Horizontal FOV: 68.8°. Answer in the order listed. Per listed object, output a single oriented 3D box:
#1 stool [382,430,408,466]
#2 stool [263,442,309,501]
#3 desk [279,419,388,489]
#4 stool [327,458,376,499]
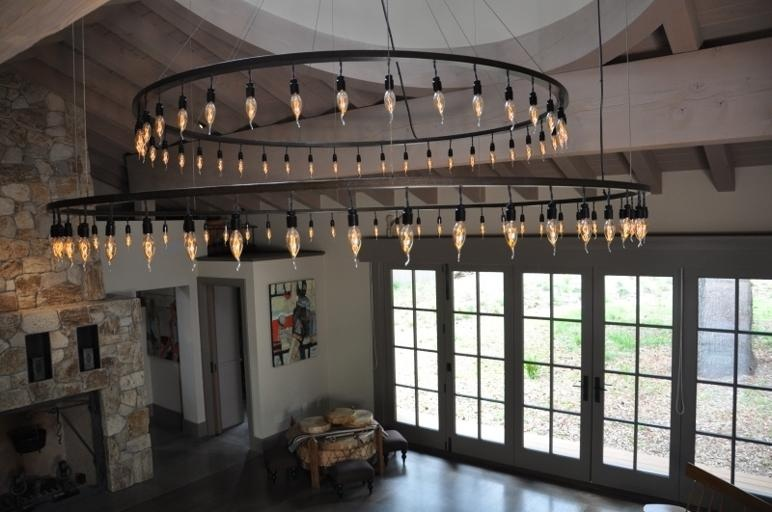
[{"bbox_3d":[0.115,2.891,8.543,0.444,0.426,0.476,-2,9,-4],"label":"stool"},{"bbox_3d":[-1.478,3.138,8.225,0.472,0.395,0.760,-1,3,-20],"label":"stool"},{"bbox_3d":[-0.603,2.714,8.201,1.008,0.478,0.914,-12,14,-40],"label":"desk"},{"bbox_3d":[-0.488,3.021,7.871,0.485,0.373,0.507,-1,-2,-17],"label":"stool"}]
